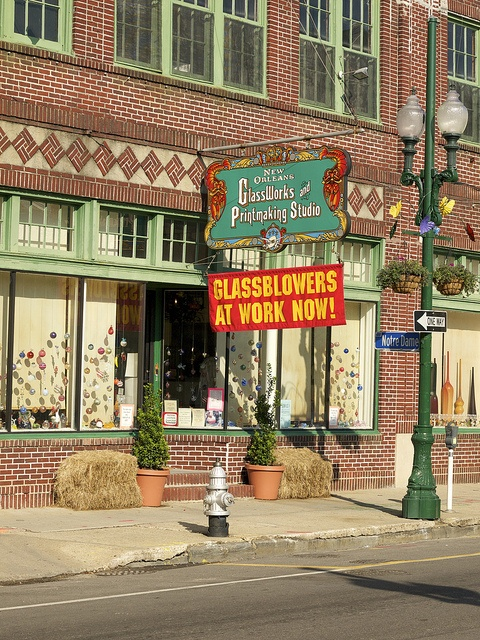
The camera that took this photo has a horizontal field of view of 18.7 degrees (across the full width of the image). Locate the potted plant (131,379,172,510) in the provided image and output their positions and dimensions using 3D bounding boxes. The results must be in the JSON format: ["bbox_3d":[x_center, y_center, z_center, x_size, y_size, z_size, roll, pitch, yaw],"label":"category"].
[{"bbox_3d":[-1.288,1.752,20.724,0.503,1.720,0.744,0,-3,-5],"label":"potted plant"}]

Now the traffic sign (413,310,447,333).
[{"bbox_3d":[2.680,0.005,20.282,0.286,0.318,0.655,-3,-5,35],"label":"traffic sign"}]

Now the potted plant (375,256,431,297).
[{"bbox_3d":[2.274,-0.615,20.638,0.449,0.405,0.501,1,-6,-10],"label":"potted plant"}]

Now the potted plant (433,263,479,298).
[{"bbox_3d":[3.360,-0.629,22.936,0.491,0.465,0.554,3,-8,-1],"label":"potted plant"}]

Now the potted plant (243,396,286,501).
[{"bbox_3d":[0.369,1.896,22.215,0.574,1.606,0.557,0,-3,0],"label":"potted plant"}]
